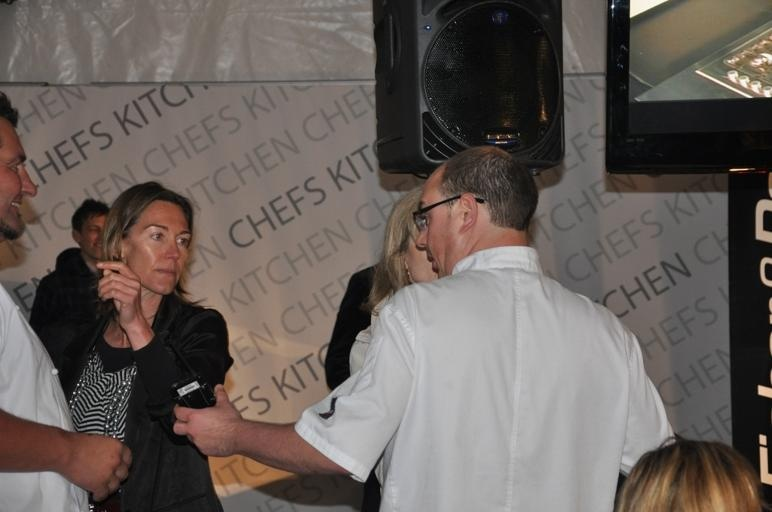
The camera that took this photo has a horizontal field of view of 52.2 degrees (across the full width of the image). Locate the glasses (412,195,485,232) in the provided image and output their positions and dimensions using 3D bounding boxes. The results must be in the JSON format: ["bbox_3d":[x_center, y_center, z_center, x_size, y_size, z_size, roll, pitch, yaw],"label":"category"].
[{"bbox_3d":[0.299,-0.158,3.133,0.223,0.079,0.253,12,5,27],"label":"glasses"}]
